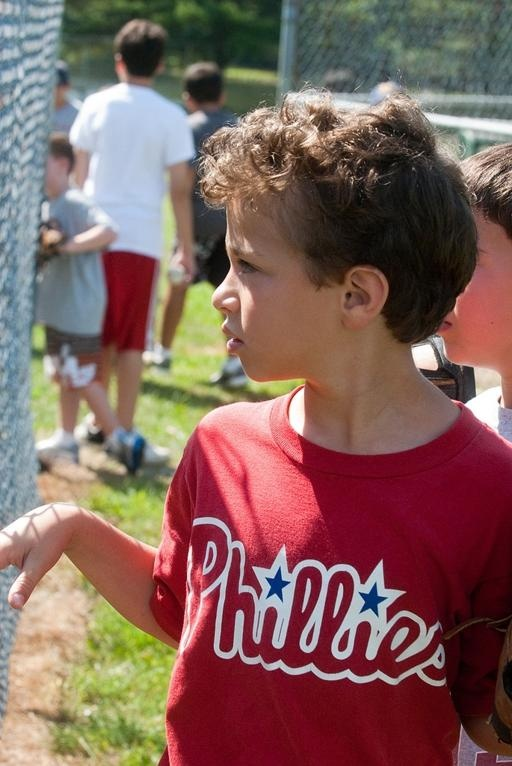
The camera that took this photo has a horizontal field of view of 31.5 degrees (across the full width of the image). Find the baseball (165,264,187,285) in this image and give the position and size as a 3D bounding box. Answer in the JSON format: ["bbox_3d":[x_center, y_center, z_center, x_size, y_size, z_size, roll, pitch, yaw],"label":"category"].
[{"bbox_3d":[-0.493,-0.674,5.687,0.123,0.107,0.116,-10,27,-21],"label":"baseball"}]
